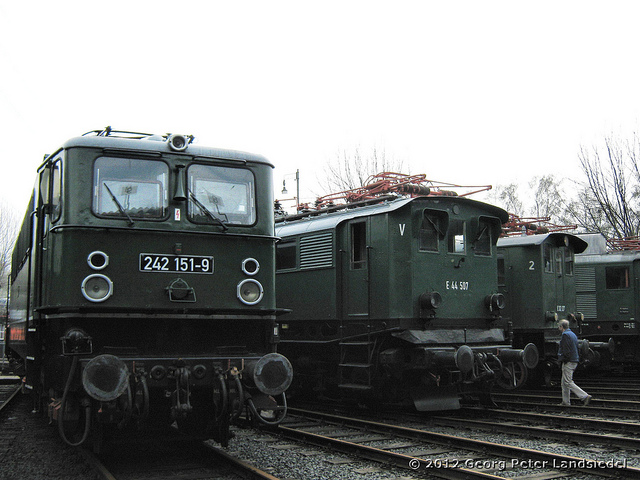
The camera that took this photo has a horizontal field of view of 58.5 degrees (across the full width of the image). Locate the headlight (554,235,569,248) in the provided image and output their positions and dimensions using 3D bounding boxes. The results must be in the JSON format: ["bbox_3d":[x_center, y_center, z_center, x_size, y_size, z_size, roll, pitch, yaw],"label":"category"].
[{"bbox_3d":[7.040,0.041,16.756,0.343,0.468,0.417,-1,-2,29],"label":"headlight"}]

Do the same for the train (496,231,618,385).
[{"bbox_3d":[6.820,1.763,18.212,2.135,3.502,6.719,1,0,2],"label":"train"}]

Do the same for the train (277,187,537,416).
[{"bbox_3d":[1.655,1.365,13.135,5.265,5.199,2.289,-4,-5,19],"label":"train"}]

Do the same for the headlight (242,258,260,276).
[{"bbox_3d":[-1.021,0.390,8.431,0.265,0.242,0.057,1,-5,-38],"label":"headlight"}]

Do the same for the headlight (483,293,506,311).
[{"bbox_3d":[4.090,1.425,13.441,0.359,0.494,0.481,-2,2,31],"label":"headlight"}]

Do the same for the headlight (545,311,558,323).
[{"bbox_3d":[6.340,2.094,15.700,0.244,0.443,0.450,-3,-4,40],"label":"headlight"}]

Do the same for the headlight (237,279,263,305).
[{"bbox_3d":[-1.025,0.760,8.376,0.345,0.359,0.129,-1,-4,-32],"label":"headlight"}]
